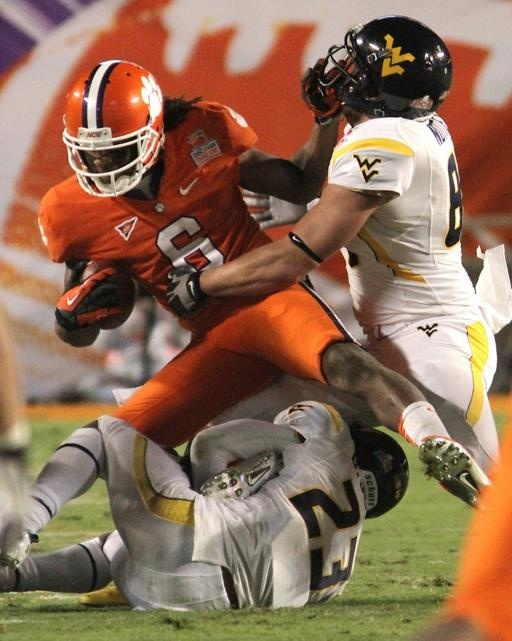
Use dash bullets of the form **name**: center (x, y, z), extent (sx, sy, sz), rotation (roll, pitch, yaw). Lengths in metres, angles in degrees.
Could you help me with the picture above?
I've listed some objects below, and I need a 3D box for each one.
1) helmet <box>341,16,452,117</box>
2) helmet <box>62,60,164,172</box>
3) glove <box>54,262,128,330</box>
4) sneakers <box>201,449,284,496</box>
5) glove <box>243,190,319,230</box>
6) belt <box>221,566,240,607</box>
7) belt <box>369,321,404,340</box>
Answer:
- **helmet**: center (0.418, -0.657, 1.932), extent (0.265, 0.222, 0.337), rotation (-25, 37, -30)
- **helmet**: center (-0.390, -0.554, 2.019), extent (0.272, 0.215, 0.298), rotation (11, 34, 12)
- **glove**: center (-0.433, -0.063, 2.147), extent (0.245, 0.155, 0.177), rotation (-23, 4, -9)
- **sneakers**: center (-0.014, 0.332, 1.682), extent (0.166, 0.051, 0.088), rotation (-22, 9, -19)
- **glove**: center (0.075, -0.334, 2.253), extent (0.242, 0.109, 0.054), rotation (-19, 22, 16)
- **belt**: center (-0.047, 0.539, 1.543), extent (0.031, 0.084, 0.013), rotation (-16, 19, 11)
- **belt**: center (0.344, 0.026, 2.041), extent (0.054, 0.020, 0.064), rotation (-11, -1, -33)
